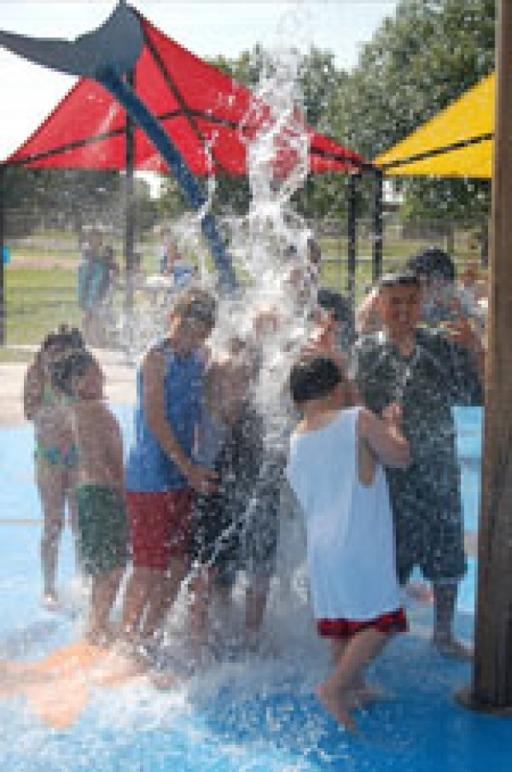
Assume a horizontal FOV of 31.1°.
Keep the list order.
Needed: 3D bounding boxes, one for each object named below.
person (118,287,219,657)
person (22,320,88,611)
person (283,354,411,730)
[{"bbox_3d":[-0.264,0.267,2.807,0.341,1.107,0.343,-4,7,-9],"label":"person"},{"bbox_3d":[-0.623,0.292,2.983,0.197,0.964,0.350,-4,7,-10],"label":"person"},{"bbox_3d":[0.253,0.385,2.478,0.318,0.939,0.380,-2,7,7],"label":"person"}]
